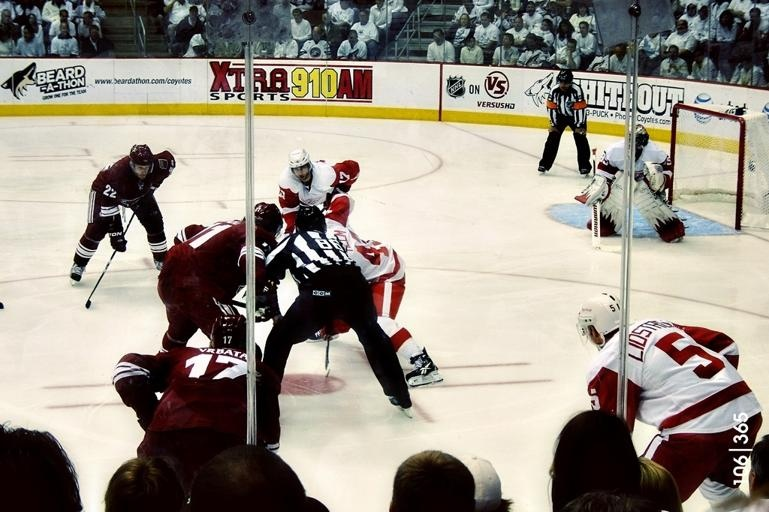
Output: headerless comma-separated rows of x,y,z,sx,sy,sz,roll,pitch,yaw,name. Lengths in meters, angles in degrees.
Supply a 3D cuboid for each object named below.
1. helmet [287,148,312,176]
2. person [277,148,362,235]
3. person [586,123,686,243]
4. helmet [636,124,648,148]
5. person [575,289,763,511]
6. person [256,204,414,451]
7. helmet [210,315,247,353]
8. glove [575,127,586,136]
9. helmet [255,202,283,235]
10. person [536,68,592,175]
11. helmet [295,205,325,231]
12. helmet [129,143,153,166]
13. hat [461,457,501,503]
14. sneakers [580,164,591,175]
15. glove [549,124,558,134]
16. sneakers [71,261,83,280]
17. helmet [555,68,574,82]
-0.832,-0.941,8.130,0.204,0.233,0.255,-12,26,7,helmet
-0.716,-0.752,8.346,0.770,0.852,1.156,6,-9,7,person
3.112,-0.858,10.080,1.274,1.365,0.949,4,19,21,person
3.160,-1.462,10.028,0.132,0.230,0.420,2,15,15,helmet
1.649,0.849,4.732,0.837,1.268,0.920,-41,25,-25,person
-0.397,0.600,6.214,1.156,0.966,1.628,23,35,-30,person
-1.022,0.523,5.547,0.227,0.262,0.290,2,12,-2,helmet
3.235,-2.056,13.479,0.113,0.139,0.056,-2,26,8,glove
-0.929,-0.308,6.487,0.260,0.241,0.195,-5,7,-25,helmet
2.999,-2.201,13.481,0.824,1.712,0.870,4,17,21,person
-0.567,-0.274,6.304,0.229,0.158,0.217,-10,-3,-9,helmet
-2.437,-1.035,8.331,0.209,0.221,0.244,-6,21,-31,helmet
0.452,1.006,3.709,0.224,0.205,0.160,-3,10,-10,hat
3.317,-1.418,13.474,0.125,0.099,0.163,-5,8,-15,sneakers
2.771,-2.096,13.474,0.151,0.130,0.105,16,30,-2,glove
-3.176,0.162,8.473,0.098,0.074,0.233,-51,29,-6,sneakers
2.938,-2.981,13.290,0.237,0.268,0.272,0,-2,-2,helmet
